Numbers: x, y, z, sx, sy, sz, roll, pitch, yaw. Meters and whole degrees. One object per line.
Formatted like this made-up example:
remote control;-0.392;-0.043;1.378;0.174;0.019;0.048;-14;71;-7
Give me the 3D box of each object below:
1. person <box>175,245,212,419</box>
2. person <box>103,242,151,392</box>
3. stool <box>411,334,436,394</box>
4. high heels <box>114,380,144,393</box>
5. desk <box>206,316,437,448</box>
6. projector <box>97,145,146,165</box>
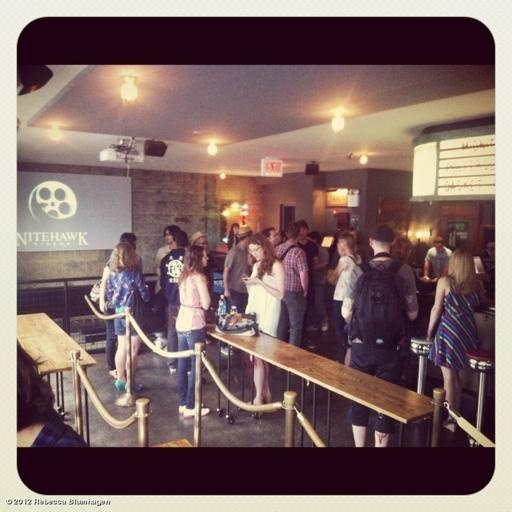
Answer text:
person;-0.511;0.648;3.794;0.277;1.456;0.448;-2;9;-11
person;-1.200;0.584;4.382;0.498;1.449;0.370;6;11;36
stool;1.361;0.943;3.841;0.167;0.468;0.154;2;-3;37
high heels;-1.189;1.229;4.427;0.289;0.140;0.111;1;1;-20
desk;0.423;0.841;3.070;0.416;0.286;1.551;-7;12;-37
projector;-1.839;-1.400;6.380;0.495;0.210;0.535;1;7;7
